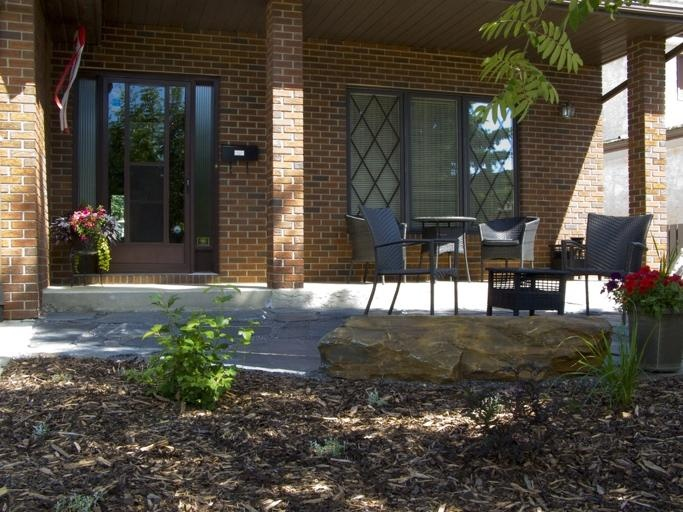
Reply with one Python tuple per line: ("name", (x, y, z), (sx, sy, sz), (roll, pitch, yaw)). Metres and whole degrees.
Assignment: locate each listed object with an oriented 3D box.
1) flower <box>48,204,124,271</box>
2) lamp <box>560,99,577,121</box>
("flower", (-3.222, -0.190, 6.827), (0.689, 0.863, 0.892), (0, 4, -28))
("lamp", (3.896, -2.506, 9.312), (0.343, 0.304, 0.172), (0, 4, -25))
